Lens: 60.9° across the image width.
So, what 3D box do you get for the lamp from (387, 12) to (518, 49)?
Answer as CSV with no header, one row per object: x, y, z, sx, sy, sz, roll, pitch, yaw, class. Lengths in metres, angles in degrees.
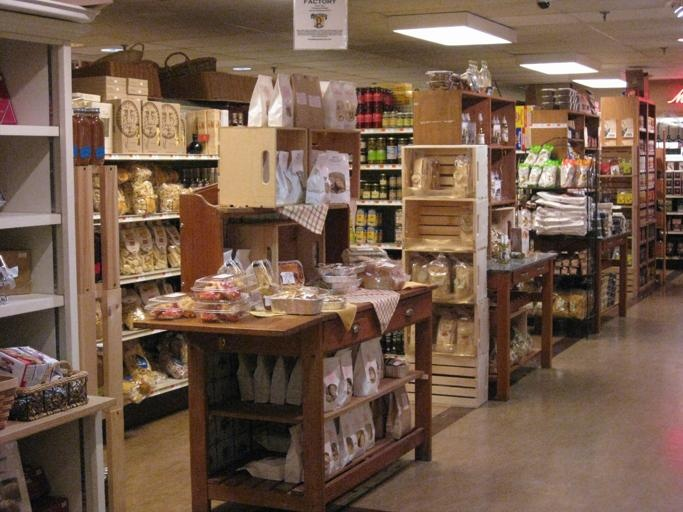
1.585,-3.149,8.109,1.726,0.300,0.974,-6,7,-41,lamp

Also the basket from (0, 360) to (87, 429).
-1.265,0.586,2.503,0.168,0.140,0.297,1,6,21,basket

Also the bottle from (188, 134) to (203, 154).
-1.581,-1.185,6.182,0.163,0.236,0.267,-4,6,-35,bottle

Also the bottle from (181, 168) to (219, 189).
-1.516,-0.820,6.190,0.374,0.233,0.405,-1,5,0,bottle
